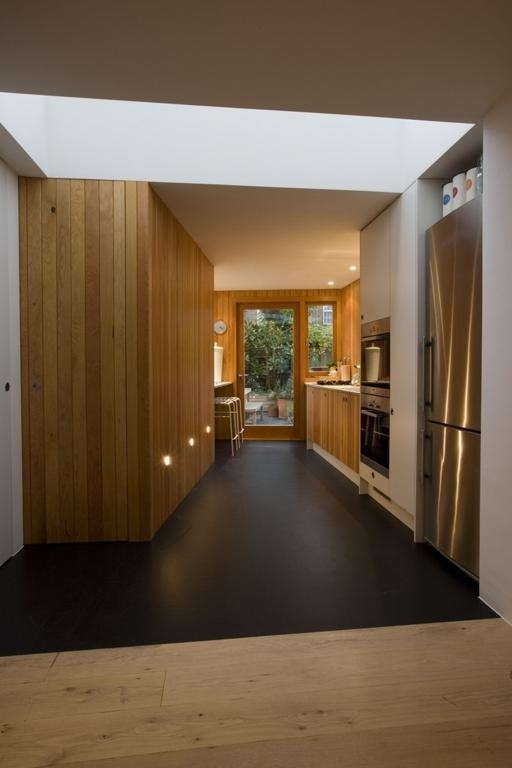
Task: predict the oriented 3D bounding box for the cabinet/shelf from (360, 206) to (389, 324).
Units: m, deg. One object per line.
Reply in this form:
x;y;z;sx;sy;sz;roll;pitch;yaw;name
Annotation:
0.824;-0.837;3.659;0.162;0.713;0.627;-1;1;-3;cabinet/shelf

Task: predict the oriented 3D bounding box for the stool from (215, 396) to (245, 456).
-0.345;0.461;6.815;0.330;0.879;0.763;0;1;0;stool

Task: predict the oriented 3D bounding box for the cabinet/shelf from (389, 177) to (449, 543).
0.898;-0.154;3.114;0.164;1.967;0.510;-1;2;-14;cabinet/shelf

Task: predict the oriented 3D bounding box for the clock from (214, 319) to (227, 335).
-0.490;-0.768;7.144;0.156;0.194;0.096;1;2;16;clock

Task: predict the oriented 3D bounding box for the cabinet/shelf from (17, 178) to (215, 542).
-0.715;-0.187;3.871;0.469;1.984;1.826;1;3;7;cabinet/shelf
